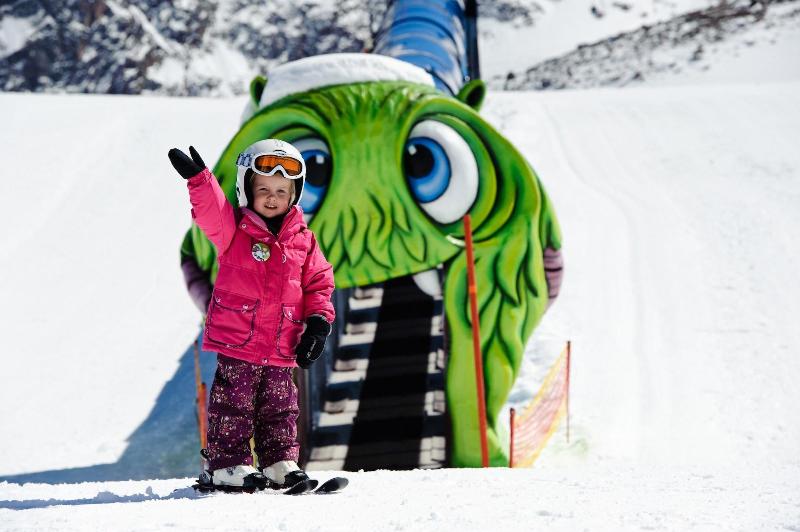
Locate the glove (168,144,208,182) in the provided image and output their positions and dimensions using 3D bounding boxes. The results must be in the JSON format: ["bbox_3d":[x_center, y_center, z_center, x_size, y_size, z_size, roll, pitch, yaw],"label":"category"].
[{"bbox_3d":[-2.689,-1.255,15.242,0.387,0.443,0.189,-48,11,-25],"label":"glove"}]

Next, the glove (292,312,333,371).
[{"bbox_3d":[-1.096,0.947,15.328,0.387,0.694,0.268,22,-1,9],"label":"glove"}]
